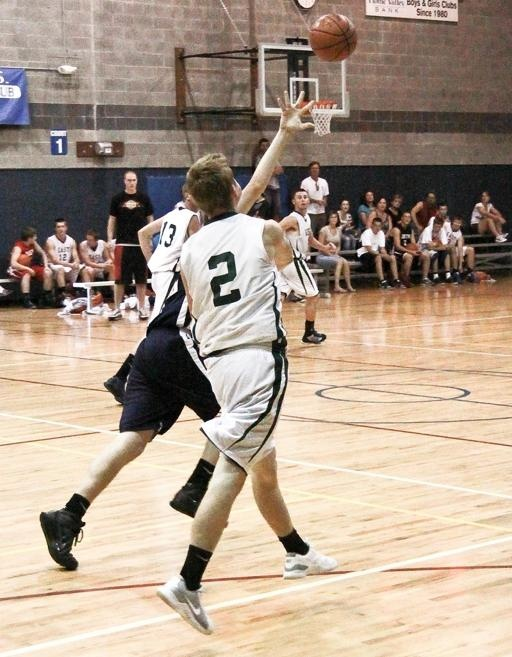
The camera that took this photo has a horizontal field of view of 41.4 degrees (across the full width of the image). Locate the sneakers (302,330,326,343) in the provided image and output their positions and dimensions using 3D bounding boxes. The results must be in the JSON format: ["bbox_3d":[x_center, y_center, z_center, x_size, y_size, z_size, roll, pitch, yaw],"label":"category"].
[{"bbox_3d":[0.757,0.095,8.990,0.341,0.131,0.130,-1,18,-1],"label":"sneakers"}]

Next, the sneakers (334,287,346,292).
[{"bbox_3d":[1.946,-0.902,15.751,0.100,0.109,0.286,-6,4,-37],"label":"sneakers"}]

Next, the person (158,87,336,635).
[{"bbox_3d":[-0.005,0.008,2.024,0.463,1.631,0.905,-1,2,1],"label":"person"}]

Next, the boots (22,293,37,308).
[{"bbox_3d":[-4.581,-0.570,13.722,0.233,0.315,0.352,-1,1,-16],"label":"boots"}]

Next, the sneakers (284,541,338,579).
[{"bbox_3d":[0.178,0.728,2.168,0.212,0.077,0.075,-2,1,-32],"label":"sneakers"}]

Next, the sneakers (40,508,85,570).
[{"bbox_3d":[-0.660,0.719,2.330,0.134,0.220,0.122,-1,2,5],"label":"sneakers"}]
